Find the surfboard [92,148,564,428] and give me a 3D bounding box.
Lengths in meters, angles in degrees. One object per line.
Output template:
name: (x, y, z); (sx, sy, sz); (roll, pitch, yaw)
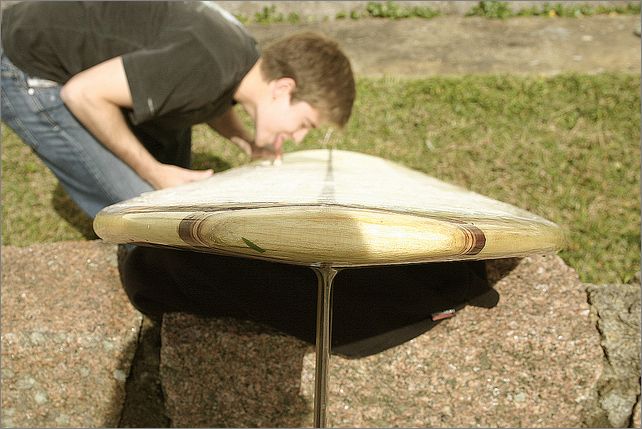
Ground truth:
surfboard: (0.047, 0.144, 2.708); (1.219, 0.781, 1.153); (-35, 54, -26)
